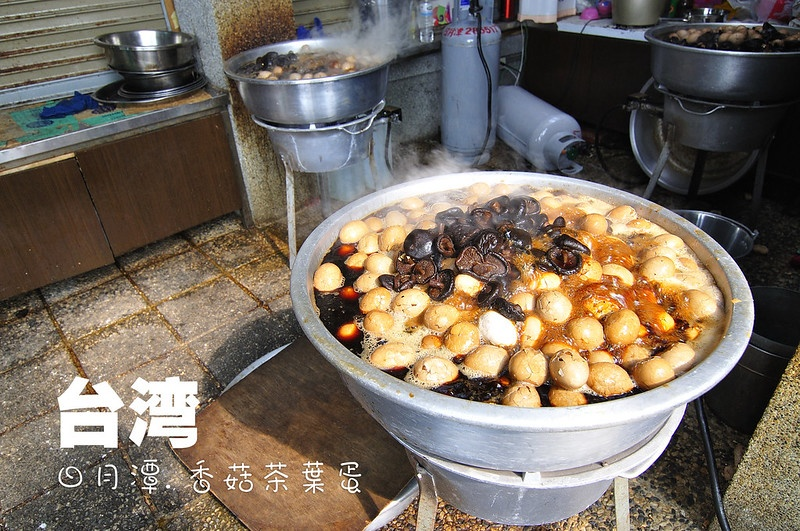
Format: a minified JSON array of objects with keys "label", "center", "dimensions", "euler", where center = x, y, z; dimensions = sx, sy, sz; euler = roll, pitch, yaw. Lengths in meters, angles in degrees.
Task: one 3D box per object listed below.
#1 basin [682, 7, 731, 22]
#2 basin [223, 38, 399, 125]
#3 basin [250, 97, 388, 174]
[{"label":"basin","center":[3.431,-2.805,5.864],"dimensions":[0.365,0.124,0.373],"euler":[-8,42,7]},{"label":"basin","center":[-0.882,-1.682,4.853],"dimensions":[1.238,0.486,1.190],"euler":[-2,41,2]},{"label":"basin","center":[-0.797,-1.301,5.274],"dimensions":[1.278,0.480,1.279],"euler":[-1,26,0]}]
